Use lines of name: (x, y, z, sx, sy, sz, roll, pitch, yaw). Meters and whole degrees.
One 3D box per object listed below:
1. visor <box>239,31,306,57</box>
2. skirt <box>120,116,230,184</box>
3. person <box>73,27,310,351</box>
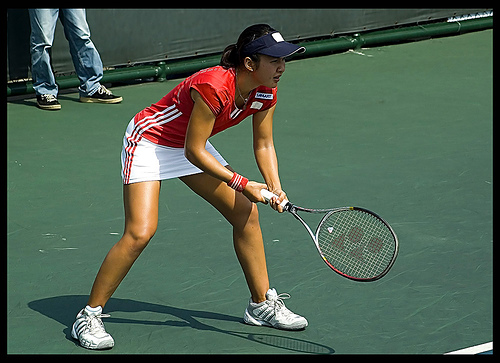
visor: (0.135, -0.841, 3.650, 0.410, 0.161, 0.229, -7, 14, -11)
skirt: (-0.501, -0.200, 3.848, 0.583, 0.562, 0.207, 5, -13, -15)
person: (-0.383, 0.085, 3.878, 1.402, 2.041, 0.593, -9, 15, -17)
